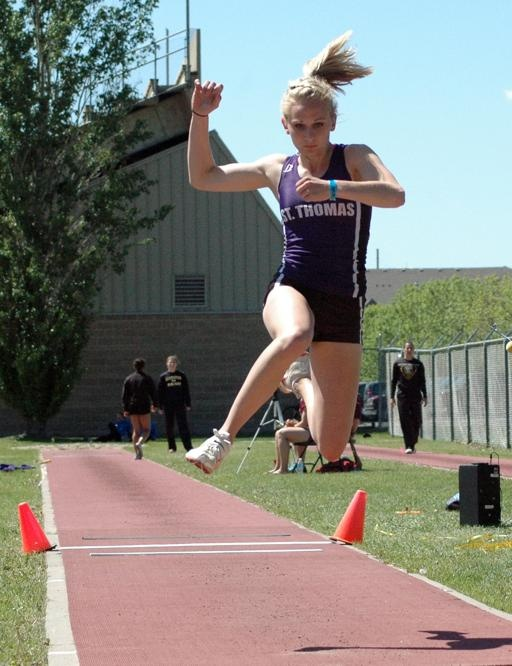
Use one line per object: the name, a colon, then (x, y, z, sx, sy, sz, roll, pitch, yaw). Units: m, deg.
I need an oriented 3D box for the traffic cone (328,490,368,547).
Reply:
traffic cone: (0.631, 1.238, 7.842, 0.226, 0.349, 0.273, 1, -3, 2)

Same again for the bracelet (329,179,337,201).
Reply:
bracelet: (0.348, -0.645, 5.243, 0.027, 0.068, 0.053, -1, 3, -7)

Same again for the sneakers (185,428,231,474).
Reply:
sneakers: (-0.199, 0.543, 5.335, 0.163, 0.110, 0.332, -42, 1, 10)

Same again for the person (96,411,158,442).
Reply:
person: (-2.940, 2.332, 27.837, 0.998, 0.647, 1.416, 0, 3, 30)

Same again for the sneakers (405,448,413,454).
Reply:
sneakers: (2.549, 1.937, 19.079, 0.073, 0.073, 0.118, 0, -8, 5)

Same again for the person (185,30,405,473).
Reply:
person: (0.177, -0.438, 5.715, 0.982, 2.231, 1.092, 1, -3, -2)

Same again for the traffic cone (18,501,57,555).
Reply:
traffic cone: (-1.434, 1.272, 7.568, 0.228, 0.292, 0.367, 1, -3, -10)
